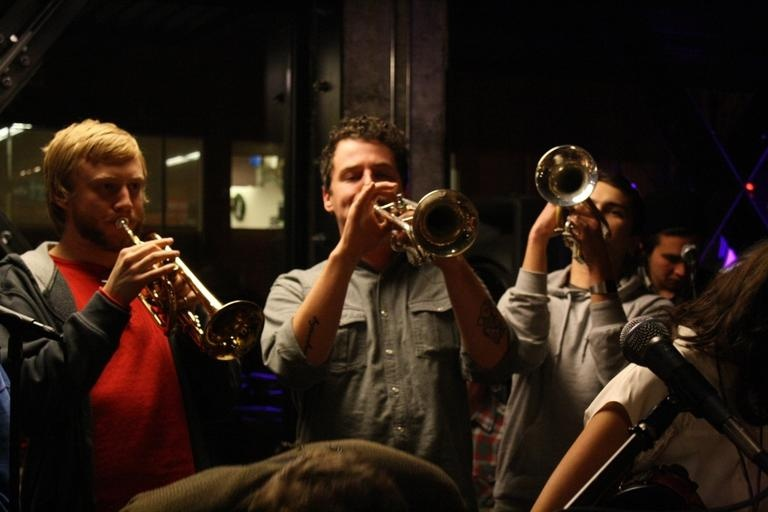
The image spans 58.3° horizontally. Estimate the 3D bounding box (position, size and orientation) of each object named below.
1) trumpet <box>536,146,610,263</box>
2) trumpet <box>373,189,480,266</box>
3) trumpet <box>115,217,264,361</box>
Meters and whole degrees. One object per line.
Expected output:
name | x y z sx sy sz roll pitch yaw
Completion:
trumpet | 0.759 -0.209 2.976 0.249 0.496 0.373 1 2 8
trumpet | 0.216 -0.094 2.692 0.337 0.311 0.473 0 2 17
trumpet | -0.821 0.178 3.022 0.927 0.395 0.314 40 3 43
